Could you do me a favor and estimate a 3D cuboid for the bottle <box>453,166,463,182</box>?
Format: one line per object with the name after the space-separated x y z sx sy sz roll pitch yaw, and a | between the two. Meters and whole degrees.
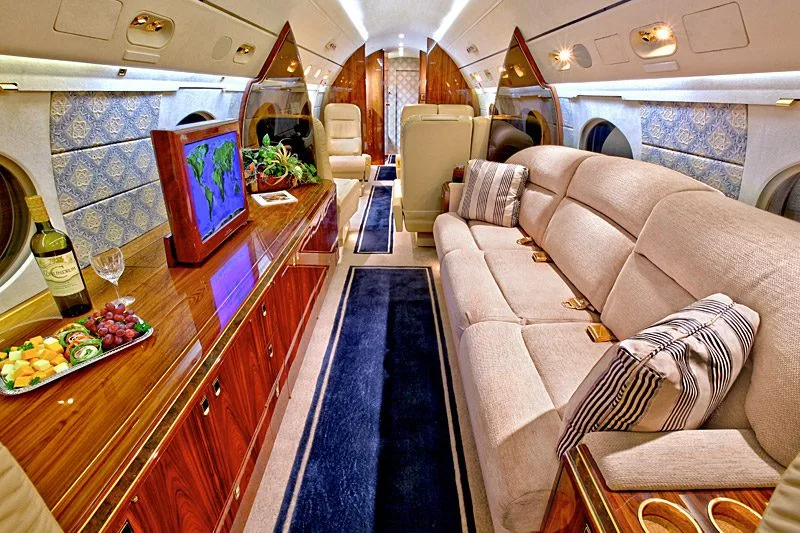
0.519 -0.818 3.974 0.107 0.178 0.191 3 21 8 | bottle

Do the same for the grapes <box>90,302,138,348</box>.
-1.064 0.218 1.625 0.137 0.084 0.183 22 18 -34 | grapes

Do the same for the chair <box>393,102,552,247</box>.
0.364 -0.973 4.555 1.213 1.702 1.666 2 22 -2 | chair
